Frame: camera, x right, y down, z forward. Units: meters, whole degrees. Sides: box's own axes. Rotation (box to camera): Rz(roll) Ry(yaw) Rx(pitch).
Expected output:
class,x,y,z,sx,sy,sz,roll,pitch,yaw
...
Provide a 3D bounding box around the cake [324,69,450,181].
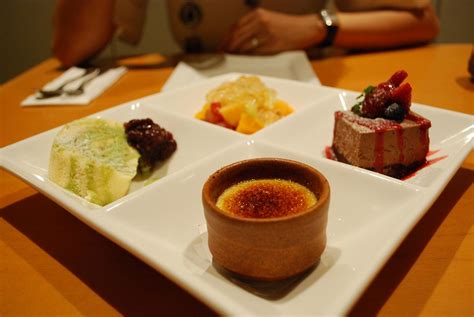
class,x,y,z,sx,sy,sz,roll,pitch,yaw
cake,0.851,-0.240,2.187,0.512,0.557,0.530,-11,23,-11

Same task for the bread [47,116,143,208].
class,x,y,z,sx,sy,sz,roll,pitch,yaw
bread,-0.800,0.003,2.008,0.469,0.171,0.495,24,31,9
